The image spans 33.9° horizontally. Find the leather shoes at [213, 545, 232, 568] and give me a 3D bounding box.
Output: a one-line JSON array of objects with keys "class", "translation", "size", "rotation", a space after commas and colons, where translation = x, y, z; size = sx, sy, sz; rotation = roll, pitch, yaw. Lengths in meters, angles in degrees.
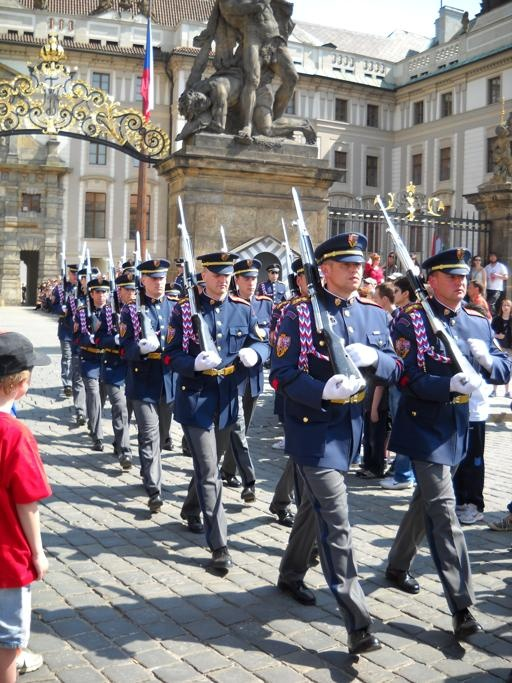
[{"class": "leather shoes", "translation": [-0.222, 1.327, 5.124], "size": [0.141, 0.136, 0.130], "rotation": [1, 5, 13]}]

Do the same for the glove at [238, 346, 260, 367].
[{"class": "glove", "translation": [-0.055, 0.105, 5.392], "size": [0.101, 0.072, 0.127], "rotation": [31, 20, -27]}]

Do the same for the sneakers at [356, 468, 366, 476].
[{"class": "sneakers", "translation": [0.986, 1.231, 7.909], "size": [0.067, 0.073, 0.190], "rotation": [0, -9, 9]}]

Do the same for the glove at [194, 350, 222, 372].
[{"class": "glove", "translation": [-0.312, 0.127, 5.274], "size": [0.162, 0.054, 0.115], "rotation": [-11, -10, 26]}]

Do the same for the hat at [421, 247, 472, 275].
[{"class": "hat", "translation": [1.095, -0.461, 4.846], "size": [0.205, 0.093, 0.208], "rotation": [-1, 7, -26]}]

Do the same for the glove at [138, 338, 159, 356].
[{"class": "glove", "translation": [-0.891, 0.042, 6.916], "size": [0.126, 0.145, 0.054], "rotation": [2, 32, -8]}]

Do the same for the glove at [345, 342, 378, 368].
[{"class": "glove", "translation": [0.534, 0.079, 4.272], "size": [0.185, 0.130, 0.192], "rotation": [-1, 4, -14]}]

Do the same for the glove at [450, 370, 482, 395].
[{"class": "glove", "translation": [1.088, 0.214, 4.398], "size": [0.071, 0.072, 0.129], "rotation": [-39, -1, 14]}]

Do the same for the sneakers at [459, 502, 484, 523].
[{"class": "sneakers", "translation": [1.603, 1.303, 6.315], "size": [0.091, 0.098, 0.244], "rotation": [-6, -11, 37]}]

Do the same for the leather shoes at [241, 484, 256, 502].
[{"class": "leather shoes", "translation": [-0.063, 1.225, 6.687], "size": [0.077, 0.085, 0.191], "rotation": [0, -22, 0]}]

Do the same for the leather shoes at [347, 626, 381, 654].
[{"class": "leather shoes", "translation": [0.487, 1.401, 4.003], "size": [0.168, 0.135, 0.085], "rotation": [-7, 15, -11]}]

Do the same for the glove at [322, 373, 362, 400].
[{"class": "glove", "translation": [0.425, 0.221, 4.046], "size": [0.210, 0.123, 0.171], "rotation": [0, 4, -1]}]

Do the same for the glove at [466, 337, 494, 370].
[{"class": "glove", "translation": [1.286, 0.074, 4.782], "size": [0.134, 0.167, 0.052], "rotation": [-28, -4, -45]}]

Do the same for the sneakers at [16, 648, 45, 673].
[{"class": "sneakers", "translation": [-1.024, 1.456, 3.835], "size": [0.061, 0.066, 0.147], "rotation": [5, -1, 19]}]

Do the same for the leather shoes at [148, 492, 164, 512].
[{"class": "leather shoes", "translation": [-0.761, 1.220, 6.368], "size": [0.078, 0.080, 0.190], "rotation": [2, -35, -18]}]

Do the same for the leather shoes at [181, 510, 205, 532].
[{"class": "leather shoes", "translation": [-0.454, 1.285, 5.960], "size": [0.145, 0.129, 0.161], "rotation": [-1, 4, -8]}]

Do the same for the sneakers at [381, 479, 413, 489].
[{"class": "sneakers", "translation": [1.237, 1.260, 7.355], "size": [0.299, 0.106, 0.099], "rotation": [4, -12, 3]}]

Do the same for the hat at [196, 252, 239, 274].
[{"class": "hat", "translation": [-0.256, -0.511, 5.624], "size": [0.184, 0.085, 0.185], "rotation": [0, 3, -23]}]

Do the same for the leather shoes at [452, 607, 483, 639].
[{"class": "leather shoes", "translation": [1.042, 1.402, 4.170], "size": [0.077, 0.083, 0.209], "rotation": [-18, -22, -5]}]

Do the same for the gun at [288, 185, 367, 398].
[{"class": "gun", "translation": [0.377, -0.275, 4.324], "size": [0.284, 1.045, 0.678], "rotation": [-1, 5, -9]}]

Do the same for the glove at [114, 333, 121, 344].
[{"class": "glove", "translation": [-1.345, -0.022, 8.129], "size": [0.073, 0.116, 0.131], "rotation": [-2, 4, -15]}]

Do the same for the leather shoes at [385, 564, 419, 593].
[{"class": "leather shoes", "translation": [0.849, 1.387, 4.905], "size": [0.121, 0.102, 0.265], "rotation": [-3, 5, -31]}]
